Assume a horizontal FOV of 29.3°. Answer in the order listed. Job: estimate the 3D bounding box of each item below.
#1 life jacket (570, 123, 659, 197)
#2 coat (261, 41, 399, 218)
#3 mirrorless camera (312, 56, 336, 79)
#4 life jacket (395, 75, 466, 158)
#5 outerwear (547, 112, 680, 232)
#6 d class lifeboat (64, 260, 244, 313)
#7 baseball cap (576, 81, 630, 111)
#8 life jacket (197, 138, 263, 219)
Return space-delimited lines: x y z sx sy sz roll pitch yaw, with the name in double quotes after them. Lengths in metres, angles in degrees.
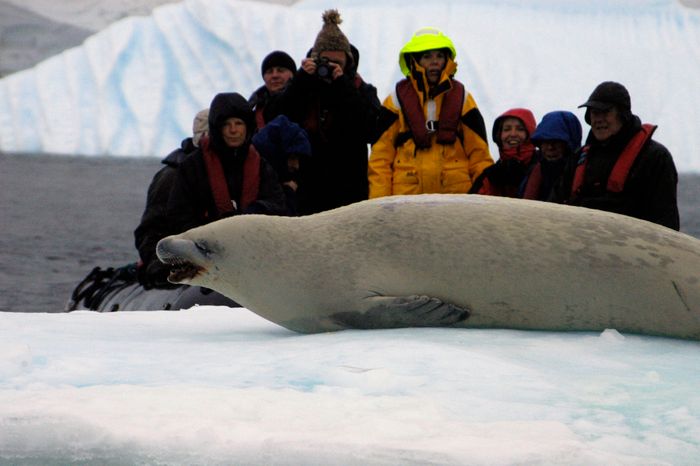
2.644 -0.727 13.535 0.776 0.756 0.389 7 10 18 "life jacket"
-0.333 -1.056 15.233 1.392 1.717 1.200 8 -5 25 "coat"
-0.304 -1.805 14.703 0.275 0.147 0.243 -1 9 6 "mirrorless camera"
0.826 -1.282 14.463 0.756 0.743 0.388 4 10 2 "life jacket"
2.582 -0.530 13.147 1.376 1.106 0.673 12 -13 47 "outerwear"
-2.283 0.666 15.233 0.813 0.614 2.251 5 -7 -37 "d class lifeboat"
2.589 -1.389 13.584 0.583 0.214 0.374 0 10 -30 "baseball cap"
-1.253 -0.569 13.976 0.821 0.748 0.261 -4 -15 -12 "life jacket"
